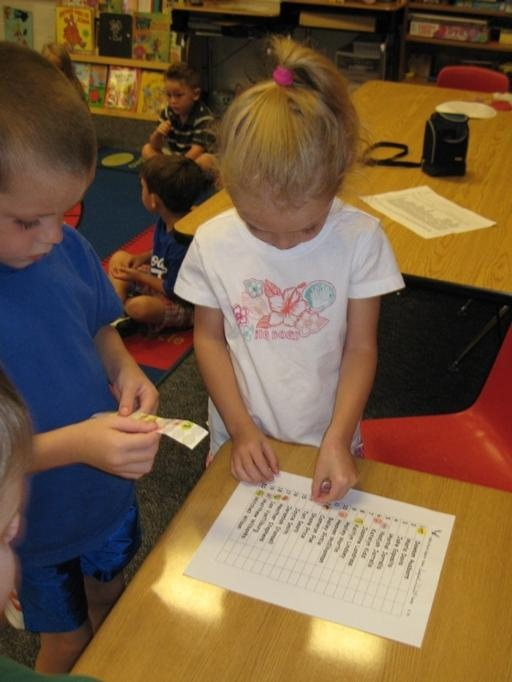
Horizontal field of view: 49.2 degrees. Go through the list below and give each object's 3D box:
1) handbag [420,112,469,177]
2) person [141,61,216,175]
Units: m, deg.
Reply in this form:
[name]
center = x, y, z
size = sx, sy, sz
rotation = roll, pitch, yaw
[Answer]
[handbag]
center = 0.698, -0.713, 2.035
size = 0.172, 0.209, 0.187
rotation = 3, 28, 8
[person]
center = -0.526, -1.705, 4.344
size = 0.617, 0.814, 0.495
rotation = 16, 30, 22
